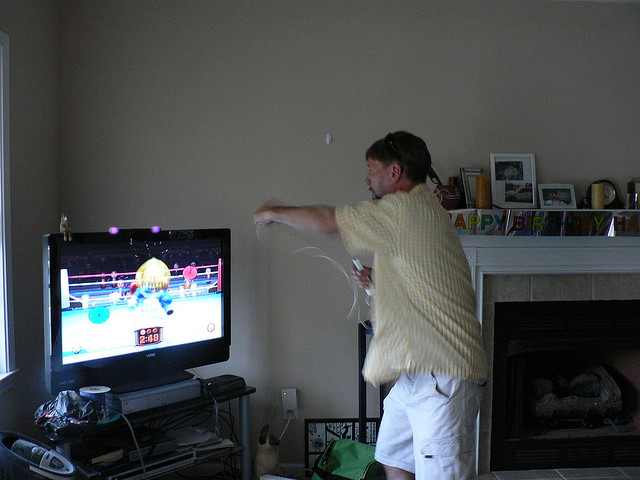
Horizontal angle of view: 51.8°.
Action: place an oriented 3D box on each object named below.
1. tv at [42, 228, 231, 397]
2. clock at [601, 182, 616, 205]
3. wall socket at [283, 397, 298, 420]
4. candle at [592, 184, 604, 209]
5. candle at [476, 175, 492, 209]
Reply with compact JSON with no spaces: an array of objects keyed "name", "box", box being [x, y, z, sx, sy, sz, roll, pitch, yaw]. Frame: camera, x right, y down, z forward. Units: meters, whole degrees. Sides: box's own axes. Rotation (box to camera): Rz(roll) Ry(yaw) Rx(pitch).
[{"name":"tv","box":[-1.033,0.395,3.590,0.922,0.818,0.288,-1,-2,-35]},{"name":"clock","box":[1.836,-0.303,4.209,0.138,0.138,0.053,-4,3,-44]},{"name":"wall socket","box":[-0.184,1.094,4.172,0.076,0.111,0.059,-1,-5,5]},{"name":"candle","box":[1.742,-0.280,4.136,0.061,0.149,0.047,-2,2,23]},{"name":"candle","box":[1.008,-0.295,4.065,0.092,0.205,0.147,-2,2,14]}]
